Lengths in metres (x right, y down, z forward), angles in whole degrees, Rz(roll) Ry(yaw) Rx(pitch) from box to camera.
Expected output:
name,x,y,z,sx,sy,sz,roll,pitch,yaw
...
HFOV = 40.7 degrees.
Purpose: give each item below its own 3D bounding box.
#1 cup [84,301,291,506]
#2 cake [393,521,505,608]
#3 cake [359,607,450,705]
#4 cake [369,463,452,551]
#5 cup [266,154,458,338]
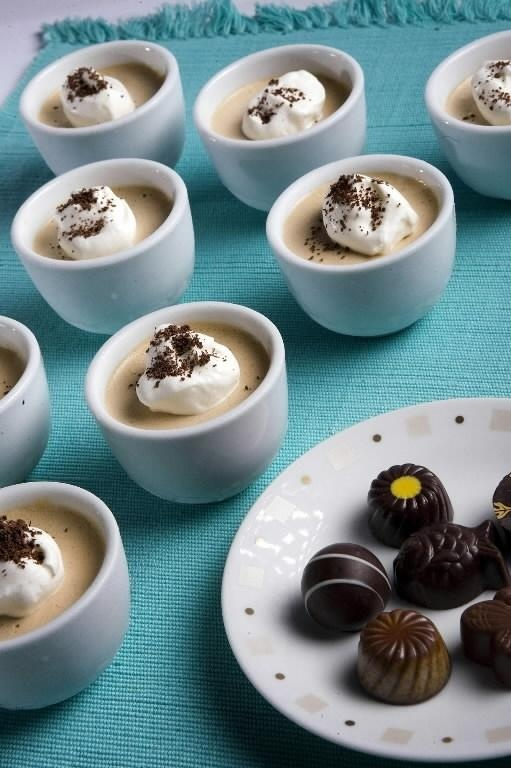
name,x,y,z,sx,sy,sz,roll,pitch,yaw
cup,-0.065,0.055,1.212,0.363,0.253,0.338,-8,47,9
cake,0.248,0.237,0.903,0.133,0.075,0.097,-9,40,-4
cake,0.164,0.307,0.779,0.096,0.051,0.091,1,34,18
cake,0.240,0.182,1.032,0.118,0.068,0.117,22,54,35
cup,0.251,-0.232,1.420,0.397,0.279,0.371,-12,50,15
